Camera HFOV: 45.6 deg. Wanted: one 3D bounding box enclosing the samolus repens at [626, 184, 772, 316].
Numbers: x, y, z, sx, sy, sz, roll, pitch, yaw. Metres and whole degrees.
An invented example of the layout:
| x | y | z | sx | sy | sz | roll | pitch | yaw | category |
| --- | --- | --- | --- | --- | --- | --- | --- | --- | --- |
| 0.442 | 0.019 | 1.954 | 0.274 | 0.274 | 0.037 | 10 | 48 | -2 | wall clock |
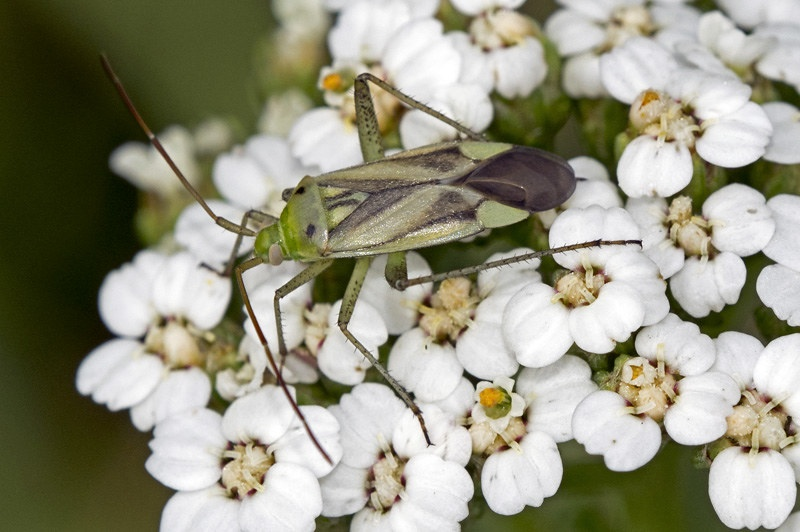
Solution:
| x | y | z | sx | sy | sz | roll | pitch | yaw | category |
| --- | --- | --- | --- | --- | --- | --- | --- | --- | --- |
| 1.311 | -0.113 | 4.087 | 0.499 | 0.204 | 0.591 | 14 | 82 | 11 | samolus repens |

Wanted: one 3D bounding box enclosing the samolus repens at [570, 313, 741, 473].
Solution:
| x | y | z | sx | sy | sz | roll | pitch | yaw | category |
| --- | --- | --- | --- | --- | --- | --- | --- | --- | --- |
| 1.084 | 0.592 | 4.007 | 0.741 | 0.240 | 0.595 | -37 | 55 | -16 | samolus repens |
